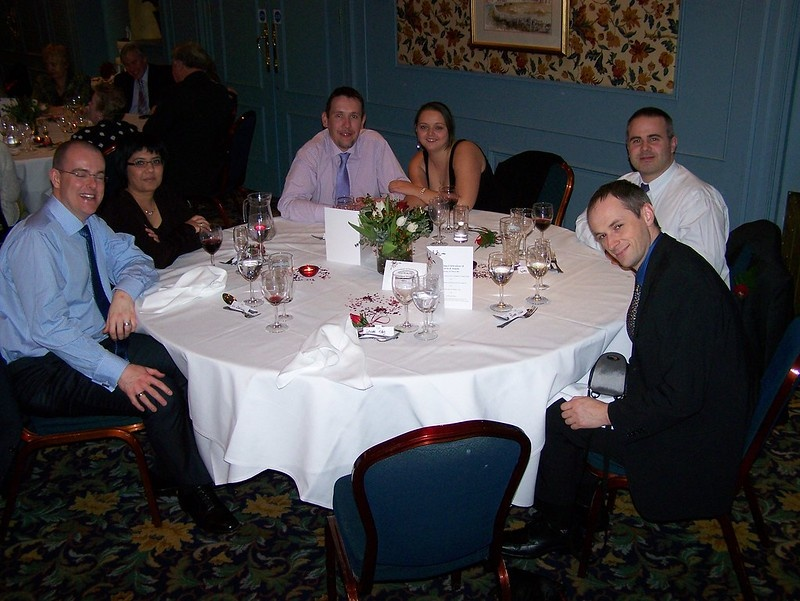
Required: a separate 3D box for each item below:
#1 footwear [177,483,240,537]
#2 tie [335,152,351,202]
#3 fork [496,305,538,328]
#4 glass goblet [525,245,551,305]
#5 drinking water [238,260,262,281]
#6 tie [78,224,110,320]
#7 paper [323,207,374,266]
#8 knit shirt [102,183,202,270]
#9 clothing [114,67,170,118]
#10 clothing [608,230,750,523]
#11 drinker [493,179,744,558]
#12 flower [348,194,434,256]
[{"bbox_3d":[-0.841,0.876,2.469,0.334,0.153,0.132,25,31,33],"label":"footwear"},{"bbox_3d":[-0.352,-0.772,3.546,0.093,0.044,0.409,-5,58,7],"label":"tie"},{"bbox_3d":[0.457,0.078,2.176,0.210,0.032,0.064,-22,39,-27],"label":"fork"},{"bbox_3d":[0.559,-0.103,2.281,0.081,0.212,0.084,2,20,5],"label":"glass goblet"},{"bbox_3d":[-0.600,-0.118,2.261,0.062,0.111,0.062,11,23,20],"label":"drinking water"},{"bbox_3d":[-1.319,-0.114,2.452,0.123,0.425,0.046,-17,22,-42],"label":"tie"},{"bbox_3d":[-0.265,-0.289,2.630,0.155,0.243,0.122,-6,-15,15],"label":"paper"},{"bbox_3d":[-1.207,-0.389,2.765,0.479,0.230,0.392,39,43,16],"label":"knit shirt"},{"bbox_3d":[-2.834,-2.455,6.365,0.542,0.589,0.306,7,18,8],"label":"clothing"},{"bbox_3d":[0.968,0.285,1.922,0.411,0.930,0.358,11,20,34],"label":"clothing"},{"bbox_3d":[0.854,0.344,2.127,0.795,1.408,0.670,7,3,11],"label":"drinker"},{"bbox_3d":[-0.046,-0.311,2.387,0.259,0.232,0.291,3,16,7],"label":"flower"}]
